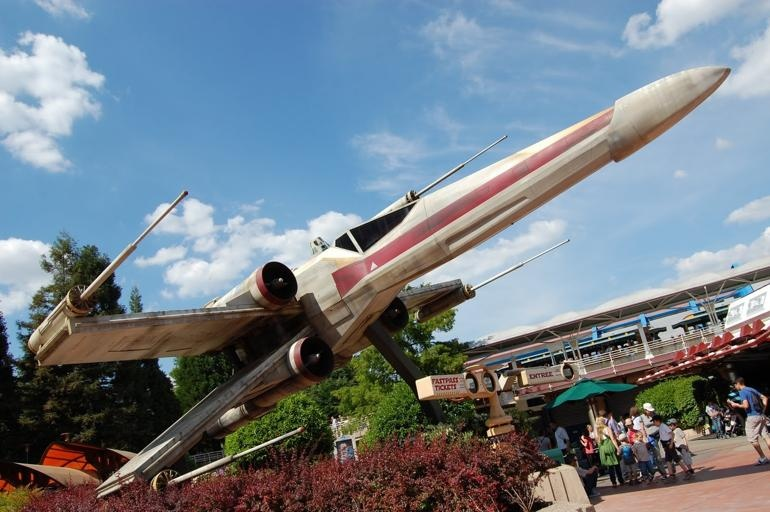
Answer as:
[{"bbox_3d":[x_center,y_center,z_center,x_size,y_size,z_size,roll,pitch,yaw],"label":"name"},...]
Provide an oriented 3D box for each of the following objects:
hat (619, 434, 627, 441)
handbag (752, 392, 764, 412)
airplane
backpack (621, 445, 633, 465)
[{"bbox_3d":[7.309,5.569,16.234,0.175,0.208,0.211,5,-21,38],"label":"hat"},{"bbox_3d":[10.964,4.258,15.365,0.112,0.447,0.453,8,-16,-18],"label":"handbag"},{"bbox_3d":[-0.774,0.539,16.252,16.238,4.591,15.369,-29,-1,31],"label":"airplane"},{"bbox_3d":[7.431,6.057,16.147,0.336,0.591,0.415,-19,-24,17],"label":"backpack"}]
